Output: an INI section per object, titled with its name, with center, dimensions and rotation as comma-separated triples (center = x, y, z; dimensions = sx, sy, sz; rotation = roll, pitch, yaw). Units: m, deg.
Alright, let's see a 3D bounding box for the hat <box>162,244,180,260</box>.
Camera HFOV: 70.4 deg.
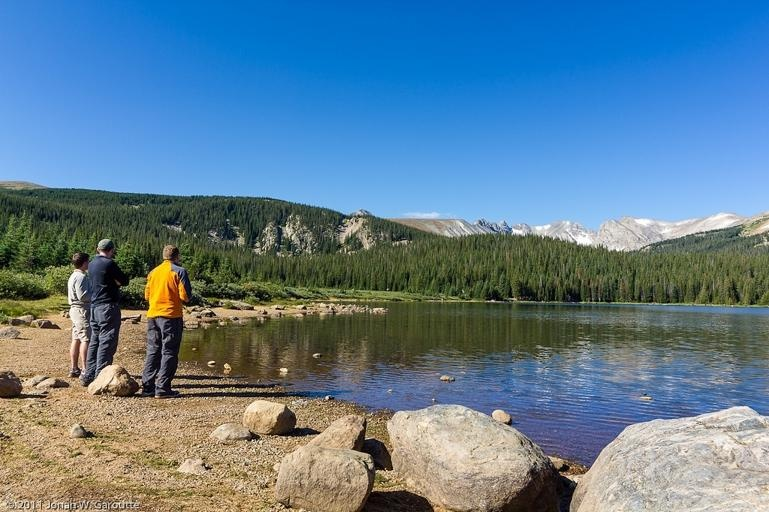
[hat]
center = -7.994, -0.162, 20.503
dimensions = 0.510, 0.586, 0.602
rotation = 5, 11, -16
